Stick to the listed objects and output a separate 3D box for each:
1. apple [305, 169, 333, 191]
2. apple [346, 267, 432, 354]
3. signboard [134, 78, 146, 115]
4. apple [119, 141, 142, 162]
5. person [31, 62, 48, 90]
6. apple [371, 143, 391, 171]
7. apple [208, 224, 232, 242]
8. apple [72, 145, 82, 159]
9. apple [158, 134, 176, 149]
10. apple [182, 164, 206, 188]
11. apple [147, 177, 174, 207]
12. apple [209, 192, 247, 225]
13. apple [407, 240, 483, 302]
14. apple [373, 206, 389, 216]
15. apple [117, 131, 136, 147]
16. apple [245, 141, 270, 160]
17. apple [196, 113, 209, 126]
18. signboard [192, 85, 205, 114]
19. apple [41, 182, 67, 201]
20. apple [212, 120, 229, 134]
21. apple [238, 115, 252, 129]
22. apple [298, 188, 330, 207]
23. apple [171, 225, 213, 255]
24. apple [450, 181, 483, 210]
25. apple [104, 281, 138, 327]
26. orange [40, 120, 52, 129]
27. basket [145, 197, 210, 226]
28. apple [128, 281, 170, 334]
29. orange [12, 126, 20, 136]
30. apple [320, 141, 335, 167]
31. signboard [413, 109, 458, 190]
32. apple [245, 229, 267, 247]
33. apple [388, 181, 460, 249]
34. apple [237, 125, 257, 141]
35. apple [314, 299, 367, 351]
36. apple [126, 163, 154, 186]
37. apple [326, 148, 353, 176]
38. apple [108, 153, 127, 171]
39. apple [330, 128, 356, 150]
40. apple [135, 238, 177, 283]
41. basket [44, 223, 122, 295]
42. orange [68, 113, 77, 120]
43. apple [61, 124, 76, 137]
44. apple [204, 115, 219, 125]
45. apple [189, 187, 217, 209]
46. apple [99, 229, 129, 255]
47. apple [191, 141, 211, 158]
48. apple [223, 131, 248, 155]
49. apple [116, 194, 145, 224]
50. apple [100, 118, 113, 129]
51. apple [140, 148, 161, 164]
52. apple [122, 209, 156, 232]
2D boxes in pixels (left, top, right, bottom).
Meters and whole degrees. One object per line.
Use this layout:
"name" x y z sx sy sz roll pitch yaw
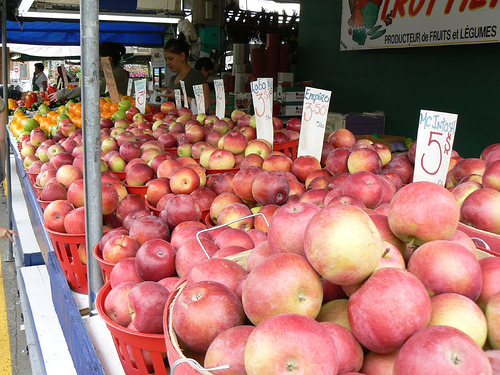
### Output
"apple" 0.397 -0.056 2.069 0.105 0.146 0.112 -5 11 -19
"apple" 0.309 0.267 0.838 0.170 0.183 0.166 -6 2 26
"signboard" -1.295 -1.061 4.174 0.111 0.388 0.334 -11 20 -38
"apple" -0.862 -0.262 2.580 0.125 0.140 0.135 7 13 -14
"person" -7.557 -3.958 12.781 0.477 0.920 1.826 -8 19 -29
"apple" 0.843 -0.187 2.263 0.130 0.177 0.137 -5 1 -8
"apple" -0.137 0.181 1.531 0.069 0.070 0.067 -9 13 1
"apple" -1.302 -0.272 2.694 0.044 0.087 0.082 37 -9 -27
"apple" -0.669 -0.379 2.889 0.107 0.118 0.107 -29 12 -30
"apple" -0.344 -0.082 2.189 0.115 0.132 0.128 -22 28 -15
"apple" -0.520 0.025 2.122 0.122 0.143 0.161 -1 47 2
"apple" -0.132 0.107 1.884 0.149 0.167 0.145 -20 0 -34
"apple" 0.517 0.189 0.945 0.144 0.191 0.147 9 -2 36
"apple" 0.530 0.095 1.459 0.041 0.055 0.045 -4 34 30
"apple" -1.003 -0.412 2.927 0.121 0.140 0.126 9 18 8
"apple" 0.053 -0.264 2.477 0.118 0.138 0.131 -4 20 0
"apple" -0.470 -0.666 3.466 0.101 0.144 0.111 7 0 10
"signboard" -0.564 -0.973 3.984 0.115 0.313 0.352 -2 16 -10
"apple" -1.140 0.026 2.119 0.116 0.112 0.112 1 35 16
"apple" -0.253 -0.520 3.148 0.118 0.128 0.124 11 14 -27
"apple" -0.042 -0.576 3.170 0.100 0.143 0.109 5 10 3
"apple" 0.309 0.043 1.716 0.087 0.109 0.095 0 5 5
"apple" -0.245 0.232 1.473 0.101 0.136 0.110 -10 -21 22
"apple" 1.022 0.024 1.694 0.132 0.152 0.137 -3 8 35
"apple" -0.445 0.400 1.283 0.106 0.123 0.130 -5 15 45
"orange" -2.475 -0.759 4.321 0.108 0.124 0.114 -3 17 -16
"basket" -0.450 0.130 2.032 0.200 0.082 0.199 -1 8 -39
"apple" -0.302 0.352 1.154 0.154 0.155 0.139 -5 17 -9
"orange" -2.860 -0.685 4.361 0.088 0.098 0.094 1 27 -15
"apple" 0.501 -0.225 2.439 0.119 0.152 0.118 4 -6 -30
"signboard" 0.916 -0.183 1.798 0.165 0.381 0.222 9 17 28
"apple" 0.025 0.191 1.418 0.054 0.061 0.065 16 -1 -17
"apple" 0.503 0.088 1.039 0.129 0.160 0.134 30 -5 -5
"apple" -0.016 -0.443 2.887 0.107 0.132 0.119 1 14 -13
"apple" 0.219 0.323 0.878 0.089 0.125 0.096 -4 -1 1
"apple" -0.705 -0.102 2.315 0.135 0.155 0.134 10 10 25
"apple" 0.510 -0.150 2.133 0.138 0.171 0.133 8 12 -44
"apple" -0.966 -0.169 2.651 0.100 0.109 0.125 1 38 50
"apple" 0.657 -0.334 2.426 0.138 0.162 0.170 -17 13 -20
"apple" -0.329 0.263 1.298 0.129 0.149 0.136 3 15 0
"basket" -0.902 0.333 1.889 0.320 0.290 0.349 -4 10 -23
"orange" -2.170 -0.839 4.340 0.097 0.098 0.116 2 10 -9
"apple" -1.776 -0.562 3.551 0.128 0.142 0.133 4 15 -3
"apple" -0.370 -0.636 3.368 0.081 0.094 0.100 -4 39 10
"apple" -0.249 0.052 1.959 0.112 0.070 0.101 10 11 22
"apple" -0.580 0.228 1.554 0.095 0.107 0.094 2 17 42
"apple" -0.375 -0.268 2.740 0.110 0.125 0.121 6 -33 -18
"apple" -0.107 -0.318 2.549 0.139 0.164 0.145 3 12 6
"apple" -0.645 0.102 1.968 0.133 0.143 0.135 -33 -33 26
"apple" -1.450 -0.647 3.619 0.108 0.080 0.165 -5 18 -20
"apple" -0.715 -0.236 2.554 0.100 0.114 0.101 -6 -23 21
"apple" -0.553 0.143 1.751 0.100 0.118 0.107 7 9 4
